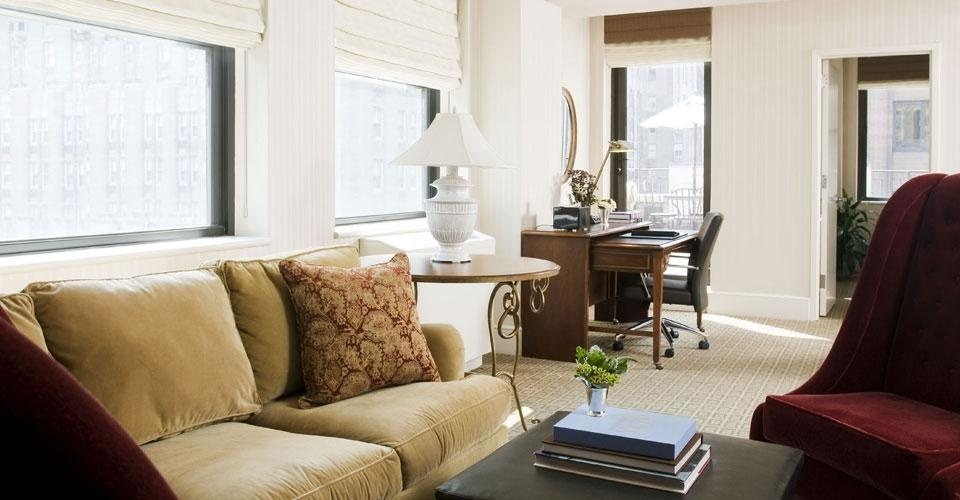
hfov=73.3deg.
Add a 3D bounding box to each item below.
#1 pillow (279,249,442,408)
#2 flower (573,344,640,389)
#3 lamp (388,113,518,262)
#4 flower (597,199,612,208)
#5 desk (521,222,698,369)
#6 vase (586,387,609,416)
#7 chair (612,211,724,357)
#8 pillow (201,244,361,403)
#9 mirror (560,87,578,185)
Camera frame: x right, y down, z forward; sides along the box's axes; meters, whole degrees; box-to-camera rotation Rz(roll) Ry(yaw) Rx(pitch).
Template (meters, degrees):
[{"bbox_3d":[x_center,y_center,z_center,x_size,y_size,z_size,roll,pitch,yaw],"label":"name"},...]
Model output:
[{"bbox_3d":[-0.679,0.429,3.653,0.879,0.700,0.449,-5,15,-41],"label":"pillow"},{"bbox_3d":[0.564,0.534,3.026,0.222,0.184,0.206,2,12,7],"label":"flower"},{"bbox_3d":[-0.221,-0.486,4.821,0.940,1.133,1.110,1,4,17],"label":"lamp"},{"bbox_3d":[1.233,-0.462,6.318,0.106,0.049,0.108,2,9,36],"label":"flower"},{"bbox_3d":[1.416,0.380,6.332,1.355,1.122,1.742,3,6,29],"label":"desk"},{"bbox_3d":[0.535,0.694,3.017,0.120,0.120,0.115,0,2,-33],"label":"vase"},{"bbox_3d":[1.811,0.254,6.707,1.310,1.878,1.395,3,3,20],"label":"chair"},{"bbox_3d":[-1.108,0.390,3.499,0.729,0.699,0.286,-9,-7,-45],"label":"pillow"},{"bbox_3d":[1.026,-1.392,7.358,0.125,0.908,0.388,5,13,19],"label":"mirror"}]
